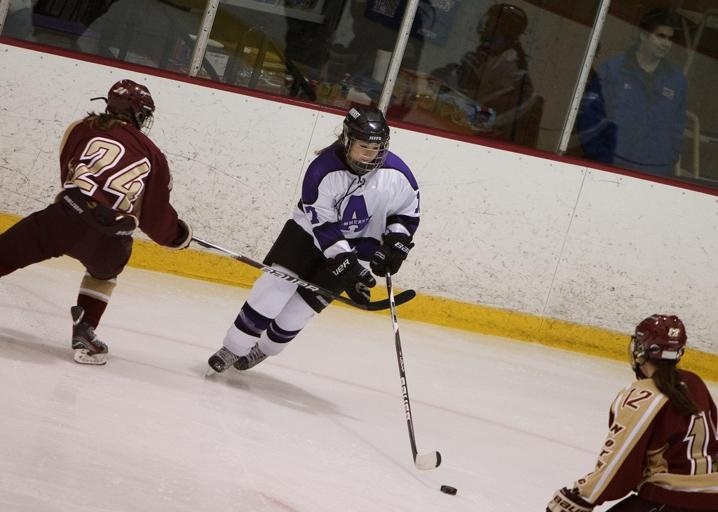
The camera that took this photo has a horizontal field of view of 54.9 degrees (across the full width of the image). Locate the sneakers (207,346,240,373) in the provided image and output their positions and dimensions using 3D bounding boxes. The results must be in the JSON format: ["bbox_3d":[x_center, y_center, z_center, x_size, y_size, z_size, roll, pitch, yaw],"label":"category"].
[{"bbox_3d":[-0.714,0.550,3.593,0.090,0.097,0.171,21,8,13],"label":"sneakers"}]

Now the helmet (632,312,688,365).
[{"bbox_3d":[1.202,0.329,2.752,0.181,0.204,0.221,4,11,-8],"label":"helmet"}]

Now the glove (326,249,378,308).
[{"bbox_3d":[-0.002,0.096,3.637,0.321,0.195,0.123,43,31,-18],"label":"glove"}]

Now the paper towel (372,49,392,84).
[{"bbox_3d":[0.176,-1.420,5.147,0.171,0.228,0.160,2,-9,-10],"label":"paper towel"}]

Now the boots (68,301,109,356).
[{"bbox_3d":[-1.359,0.402,3.436,0.124,0.238,0.345,-1,-15,-2],"label":"boots"}]

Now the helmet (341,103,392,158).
[{"bbox_3d":[0.057,-0.667,3.597,0.212,0.258,0.275,-11,30,-35],"label":"helmet"}]

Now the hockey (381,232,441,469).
[{"bbox_3d":[0.212,0.514,3.526,0.176,0.144,1.207,9,47,-25],"label":"hockey"}]

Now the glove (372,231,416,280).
[{"bbox_3d":[0.157,-0.006,3.714,0.197,0.246,0.111,34,-8,-16],"label":"glove"}]

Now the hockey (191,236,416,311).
[{"bbox_3d":[-0.406,0.093,4.049,1.557,0.175,0.174,12,51,10],"label":"hockey"}]
